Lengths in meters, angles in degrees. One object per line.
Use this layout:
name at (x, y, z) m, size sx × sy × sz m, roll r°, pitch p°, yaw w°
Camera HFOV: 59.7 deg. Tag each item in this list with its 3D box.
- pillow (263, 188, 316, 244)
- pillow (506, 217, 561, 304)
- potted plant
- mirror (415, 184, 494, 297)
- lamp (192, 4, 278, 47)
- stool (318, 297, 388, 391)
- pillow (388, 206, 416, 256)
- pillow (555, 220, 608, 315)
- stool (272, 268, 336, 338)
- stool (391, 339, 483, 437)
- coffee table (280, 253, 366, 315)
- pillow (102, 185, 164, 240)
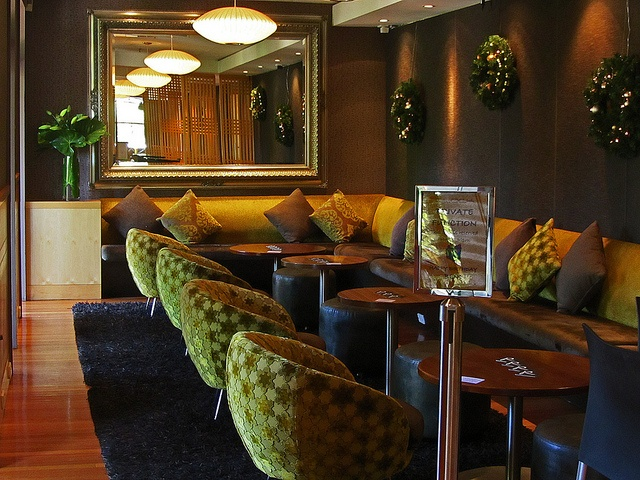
pillow at (-0.375, -0.315, 7.158) m, size 0.649 × 0.655 × 0.327 m, roll 0°, pitch 7°, yaw -1°
pillow at (1.539, 0.177, 4.020) m, size 0.161 × 0.511 × 0.534 m, roll 23°, pitch -32°, yaw -4°
potted plant at (-2.778, -1.083, 7.068) m, size 1.168 × 1.207 × 0.978 m, roll -1°, pitch 10°, yaw -5°
mirror at (0.410, 0.004, 1.701) m, size 0.228 × 0.328 × 0.061 m, roll 1°, pitch 7°, yaw 11°
lamp at (-0.852, -2.181, 5.701) m, size 0.513 × 0.284 × 0.506 m, roll -1°, pitch 0°, yaw -38°
stool at (0.276, 0.725, 4.221) m, size 0.562 × 0.500 × 0.574 m, roll 4°, pitch 5°, yaw 28°
pillow at (0.893, -0.089, 6.133) m, size 0.185 × 0.453 × 0.442 m, roll 17°, pitch -15°, yaw -9°
pillow at (1.751, 0.174, 3.774) m, size 0.165 × 0.530 × 0.554 m, roll 17°, pitch -27°, yaw -3°
stool at (-0.143, 0.572, 5.435) m, size 0.589 × 0.591 × 0.624 m, roll 0°, pitch 3°, yaw 4°
stool at (0.701, 0.784, 3.344) m, size 0.569 × 0.428 × 0.579 m, roll 1°, pitch 0°, yaw 6°
coffee table at (0.024, 0.328, 5.071) m, size 0.533 × 0.401 × 0.539 m, roll 0°, pitch 9°, yaw -6°
pillow at (-2.262, -0.330, 6.775) m, size 0.574 × 0.615 × 0.184 m, roll -41°, pitch -4°, yaw -14°
